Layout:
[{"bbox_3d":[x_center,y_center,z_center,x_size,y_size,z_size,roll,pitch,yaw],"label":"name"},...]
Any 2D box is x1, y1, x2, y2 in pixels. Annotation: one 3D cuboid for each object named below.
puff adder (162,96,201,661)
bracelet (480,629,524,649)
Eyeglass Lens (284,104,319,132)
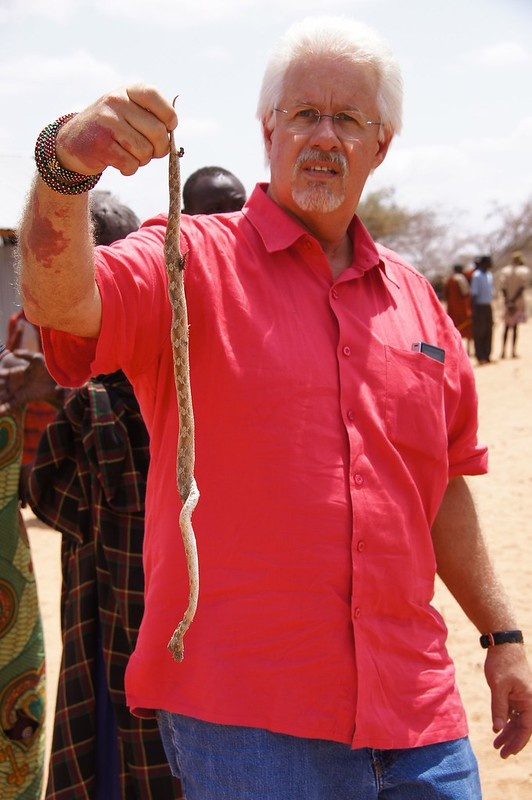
[{"bbox_3d":[-0.135,0.021,1.390,0.054,0.860,0.466,-1,5,-4],"label":"puff adder"},{"bbox_3d":[0.540,0.548,2.063,0.082,0.049,0.087,7,-20,-29],"label":"bracelet"},{"bbox_3d":[0.081,-0.596,1.896,0.073,0.023,0.070,1,-7,2],"label":"Eyeglass Lens"}]
